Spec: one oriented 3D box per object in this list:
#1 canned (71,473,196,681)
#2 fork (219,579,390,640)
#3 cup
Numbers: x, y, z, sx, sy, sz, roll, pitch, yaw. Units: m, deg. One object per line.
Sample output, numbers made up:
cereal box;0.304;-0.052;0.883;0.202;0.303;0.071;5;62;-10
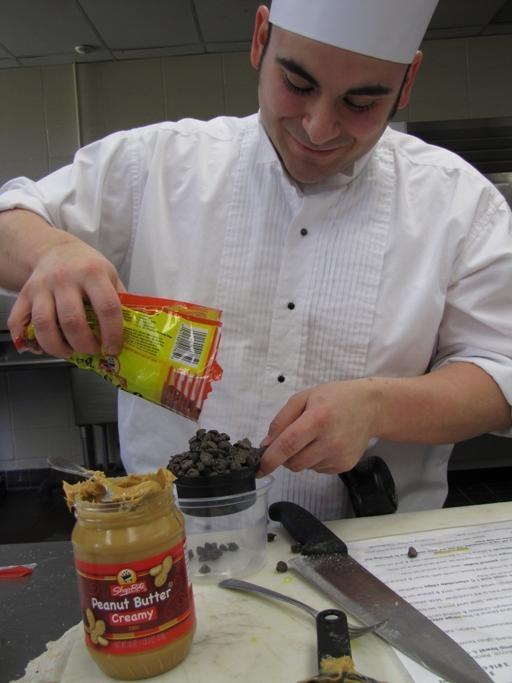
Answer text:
canned;-0.113;0.203;0.523;0.098;0.193;0.146;-8;38;-14
fork;0.053;0.283;0.603;0.028;0.025;0.189;-29;16;-40
cup;-0.037;0.222;0.724;0.145;0.134;0.119;-2;81;-3
